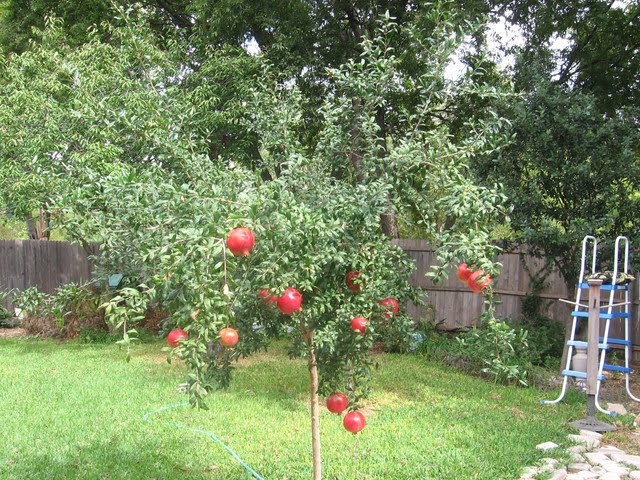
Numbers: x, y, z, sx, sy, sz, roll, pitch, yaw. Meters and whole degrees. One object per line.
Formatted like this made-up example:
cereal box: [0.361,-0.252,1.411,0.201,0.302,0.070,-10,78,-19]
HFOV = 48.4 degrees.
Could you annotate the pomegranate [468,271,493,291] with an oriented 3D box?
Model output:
pomegranate: [1.504,0.409,6.648,0.181,0.203,0.225,7,-5,-12]

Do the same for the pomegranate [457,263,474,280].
pomegranate: [1.367,0.305,6.753,0.136,0.164,0.143,4,0,-8]

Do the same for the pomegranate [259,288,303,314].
pomegranate: [-0.358,0.542,6.583,0.364,0.218,0.211,18,7,1]

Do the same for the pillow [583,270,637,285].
pillow: [4.063,0.520,9.944,0.396,0.207,1.305,-1,-7,35]

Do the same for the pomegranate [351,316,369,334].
pomegranate: [0.366,0.804,6.877,0.158,0.153,0.137,17,3,-31]

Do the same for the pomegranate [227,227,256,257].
pomegranate: [-0.693,0.034,6.257,0.225,0.294,0.224,-2,-2,0]

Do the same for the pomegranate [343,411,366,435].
pomegranate: [0.351,1.815,7.151,0.235,0.308,0.236,-1,-2,9]

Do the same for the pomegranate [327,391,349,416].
pomegranate: [0.173,1.648,7.168,0.192,0.211,0.206,1,-2,2]

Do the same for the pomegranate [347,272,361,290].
pomegranate: [0.309,0.396,6.820,0.140,0.187,0.149,-3,-4,22]

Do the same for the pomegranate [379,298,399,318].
pomegranate: [0.706,0.666,7.042,0.108,0.180,0.311,-1,-7,37]

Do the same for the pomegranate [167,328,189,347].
pomegranate: [-1.289,0.887,6.442,0.147,0.196,0.153,5,-7,-15]
